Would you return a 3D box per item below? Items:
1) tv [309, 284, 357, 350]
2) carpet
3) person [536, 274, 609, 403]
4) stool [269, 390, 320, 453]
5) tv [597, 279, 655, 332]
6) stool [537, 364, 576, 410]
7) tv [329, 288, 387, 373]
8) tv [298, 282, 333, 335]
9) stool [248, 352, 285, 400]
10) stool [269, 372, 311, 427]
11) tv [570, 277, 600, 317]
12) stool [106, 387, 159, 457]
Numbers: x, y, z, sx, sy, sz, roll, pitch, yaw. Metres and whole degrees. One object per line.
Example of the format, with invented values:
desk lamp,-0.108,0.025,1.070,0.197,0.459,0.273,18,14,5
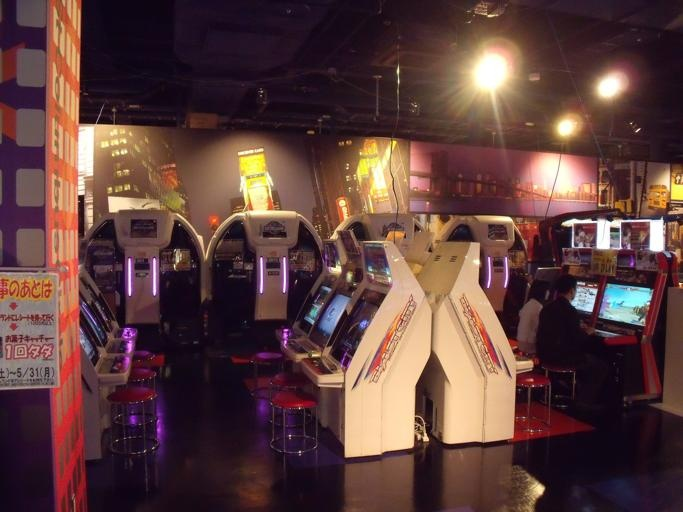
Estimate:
tv,-0.127,0.623,5.666,0.117,0.489,0.509,27,-15,-21
carpet,2.036,1.709,5.732,0.998,0.056,0.643,-2,8,-19
person,2.564,0.943,6.178,0.867,1.457,0.502,-3,7,-30
stool,-0.408,1.482,5.036,0.464,0.447,0.468,0,-3,19
tv,3.270,0.577,6.354,0.186,0.488,0.540,14,-4,-29
stool,2.418,1.411,6.335,0.470,0.549,0.490,0,-1,6
tv,0.105,0.680,5.325,0.481,0.932,0.468,14,-11,13
tv,-0.291,0.553,6.294,0.124,0.488,0.523,24,9,-16
stool,-0.938,1.362,6.882,0.539,0.540,0.518,1,6,-4
stool,-0.448,1.406,5.581,0.465,0.431,0.480,-2,11,-17
tv,3.018,0.531,6.926,0.323,0.467,0.253,10,-10,23
stool,-1.933,1.630,5.670,0.451,0.537,0.463,-7,-7,22
